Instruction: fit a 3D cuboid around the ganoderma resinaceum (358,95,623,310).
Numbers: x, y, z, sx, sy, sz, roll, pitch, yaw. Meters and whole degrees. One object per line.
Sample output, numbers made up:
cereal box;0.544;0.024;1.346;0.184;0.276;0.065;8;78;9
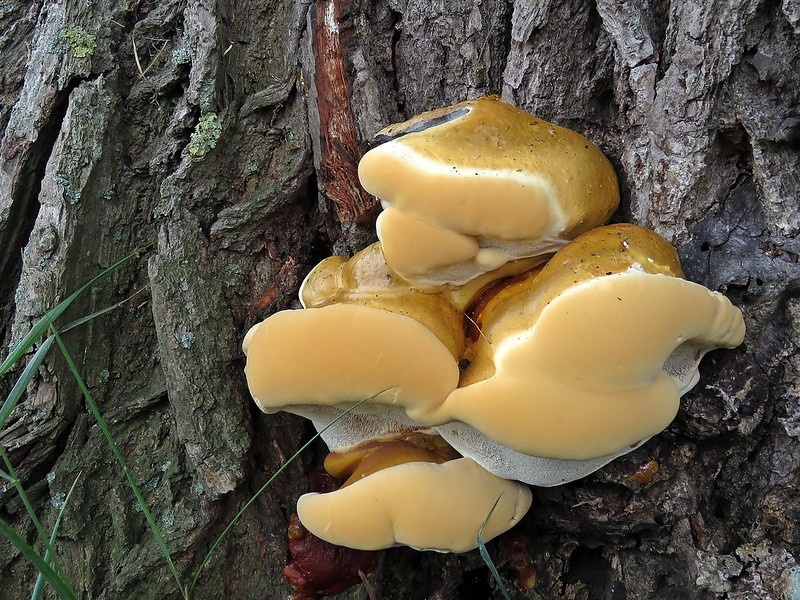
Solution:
ganoderma resinaceum;0.354;-0.368;3.361;0.832;0.343;0.709;-12;73;4
